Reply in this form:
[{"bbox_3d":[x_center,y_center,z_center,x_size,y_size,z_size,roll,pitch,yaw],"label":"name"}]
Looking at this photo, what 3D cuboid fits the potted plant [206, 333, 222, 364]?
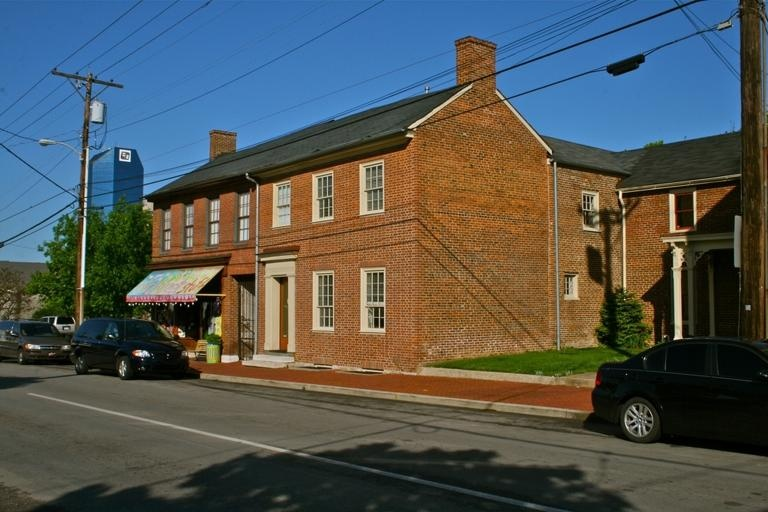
[{"bbox_3d":[-6.990,3.818,33.269,0.531,1.232,0.541,2,-13,-14],"label":"potted plant"}]
